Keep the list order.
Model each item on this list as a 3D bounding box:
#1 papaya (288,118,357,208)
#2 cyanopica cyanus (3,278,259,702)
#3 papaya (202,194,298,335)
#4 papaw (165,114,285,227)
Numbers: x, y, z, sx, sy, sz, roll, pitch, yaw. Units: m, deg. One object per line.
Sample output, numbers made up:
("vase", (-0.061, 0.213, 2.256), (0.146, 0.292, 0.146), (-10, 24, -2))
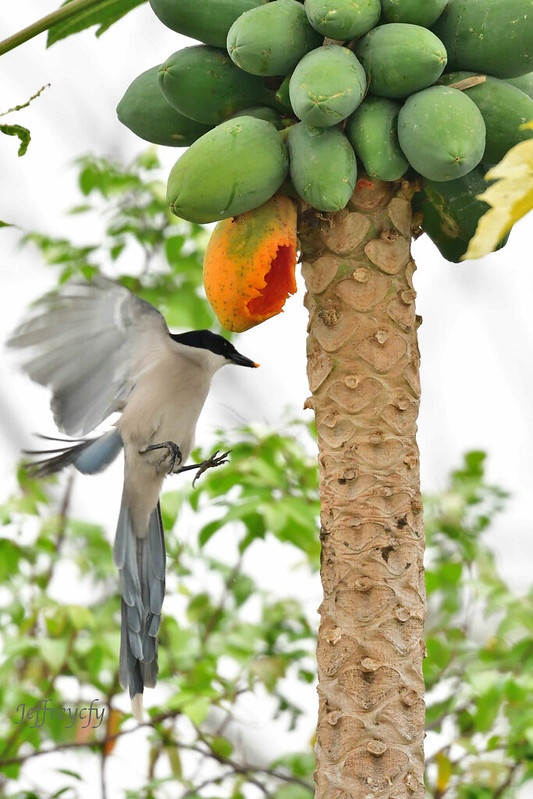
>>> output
("papaya", (0.090, -0.342, 1.673), (0.113, 0.145, 0.104), (-2, -29, -9))
("cyanopica cyanus", (-0.249, 0.167, 2.027), (0.287, 0.750, 0.579), (-21, -32, 24))
("papaya", (-0.038, -0.220, 1.786), (0.158, 0.241, 0.172), (16, 20, 24))
("papaw", (-0.057, -0.330, 1.692), (0.195, 0.110, 0.114), (-31, -15, -22))
